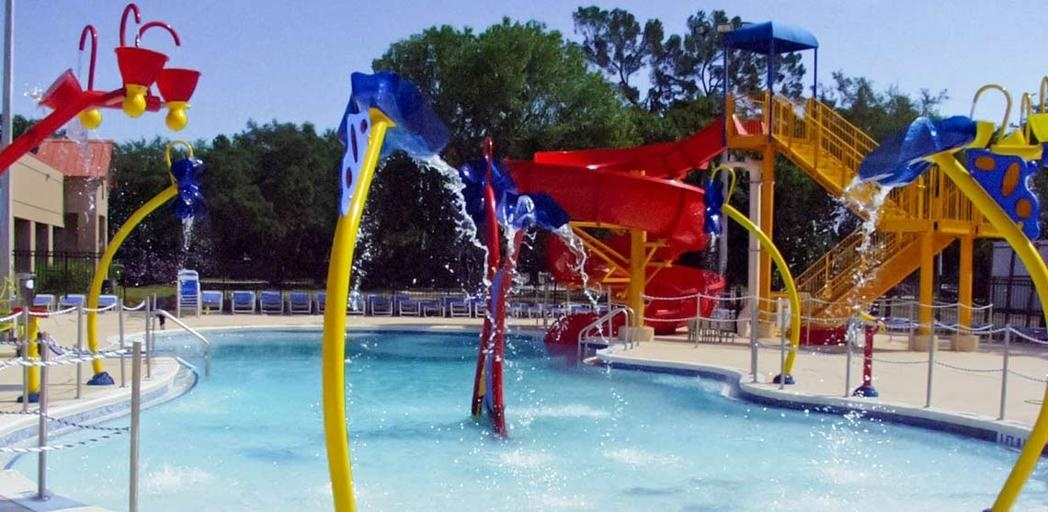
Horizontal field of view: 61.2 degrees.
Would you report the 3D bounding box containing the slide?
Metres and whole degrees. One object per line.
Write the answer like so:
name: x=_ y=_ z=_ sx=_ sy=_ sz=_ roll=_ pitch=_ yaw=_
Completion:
slide: x=3.165 y=-0.088 z=30.292 sx=7.222 sy=8.055 sz=8.268 roll=16 pitch=-22 yaw=-5
